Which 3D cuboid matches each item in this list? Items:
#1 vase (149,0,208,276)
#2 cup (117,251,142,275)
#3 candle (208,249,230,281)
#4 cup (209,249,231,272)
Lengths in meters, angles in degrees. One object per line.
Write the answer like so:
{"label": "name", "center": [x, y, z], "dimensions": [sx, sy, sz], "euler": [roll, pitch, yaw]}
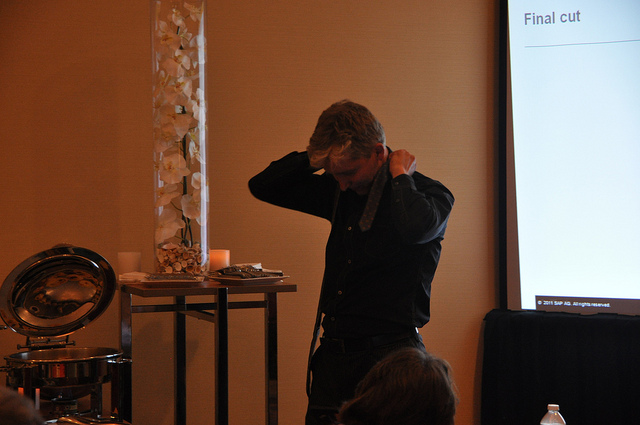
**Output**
{"label": "vase", "center": [-0.700, -0.371, 3.422], "dimensions": [0.334, 1.352, 0.239], "euler": [3, -9, -10]}
{"label": "cup", "center": [-0.984, 0.256, 3.582], "dimensions": [0.120, 0.134, 0.138], "euler": [1, 1, -14]}
{"label": "candle", "center": [-0.530, 0.258, 3.583], "dimensions": [0.126, 0.144, 0.126], "euler": [2, -5, -14]}
{"label": "cup", "center": [-0.522, 0.242, 3.637], "dimensions": [0.107, 0.105, 0.096], "euler": [-3, -5, 35]}
